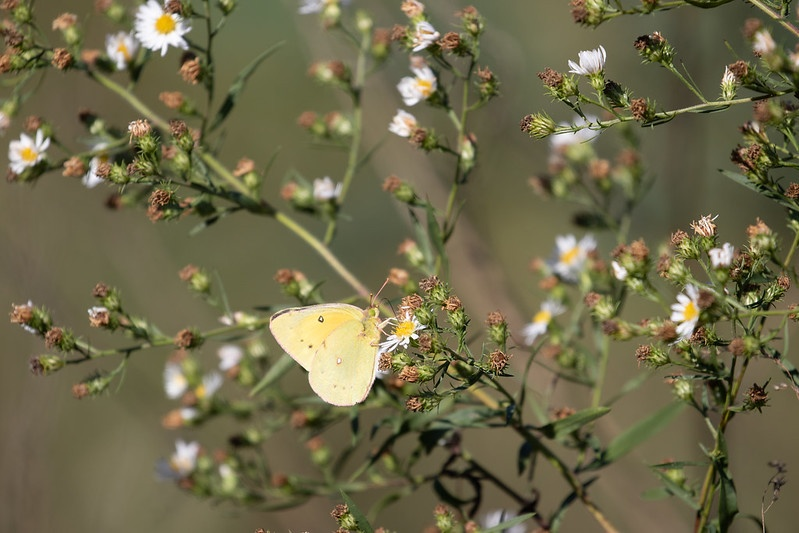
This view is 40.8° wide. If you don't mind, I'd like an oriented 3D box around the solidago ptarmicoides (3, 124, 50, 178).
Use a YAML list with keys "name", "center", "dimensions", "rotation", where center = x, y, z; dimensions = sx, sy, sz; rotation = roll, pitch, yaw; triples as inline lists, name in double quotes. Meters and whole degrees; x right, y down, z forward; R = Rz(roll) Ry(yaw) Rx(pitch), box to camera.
- name: "solidago ptarmicoides"
  center: [-1.358, -0.422, 3.911]
  dimensions: [0.169, 0.151, 0.070]
  rotation: [-15, -34, -3]

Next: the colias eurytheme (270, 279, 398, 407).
- name: "colias eurytheme"
  center: [-0.222, 0.273, 4.015]
  dimensions: [0.423, 0.416, 0.299]
  rotation: [-53, -7, 14]
